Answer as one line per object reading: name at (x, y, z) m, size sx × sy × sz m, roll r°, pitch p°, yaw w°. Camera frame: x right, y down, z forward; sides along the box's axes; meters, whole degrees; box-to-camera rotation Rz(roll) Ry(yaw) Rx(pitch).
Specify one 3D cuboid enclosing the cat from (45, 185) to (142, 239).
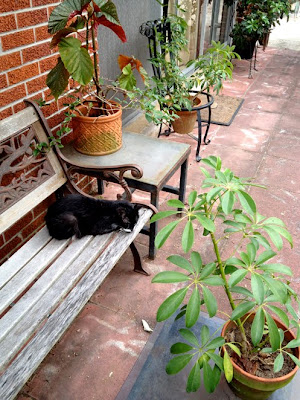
cat at (-0.288, 0.071, 1.458) m, size 0.438 × 0.190 × 0.227 m, roll 5°, pitch 37°, yaw -1°

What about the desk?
desk at (-0.004, -0.216, 2.262) m, size 1.017 × 0.827 × 0.970 m, roll 21°, pitch 52°, yaw 7°
